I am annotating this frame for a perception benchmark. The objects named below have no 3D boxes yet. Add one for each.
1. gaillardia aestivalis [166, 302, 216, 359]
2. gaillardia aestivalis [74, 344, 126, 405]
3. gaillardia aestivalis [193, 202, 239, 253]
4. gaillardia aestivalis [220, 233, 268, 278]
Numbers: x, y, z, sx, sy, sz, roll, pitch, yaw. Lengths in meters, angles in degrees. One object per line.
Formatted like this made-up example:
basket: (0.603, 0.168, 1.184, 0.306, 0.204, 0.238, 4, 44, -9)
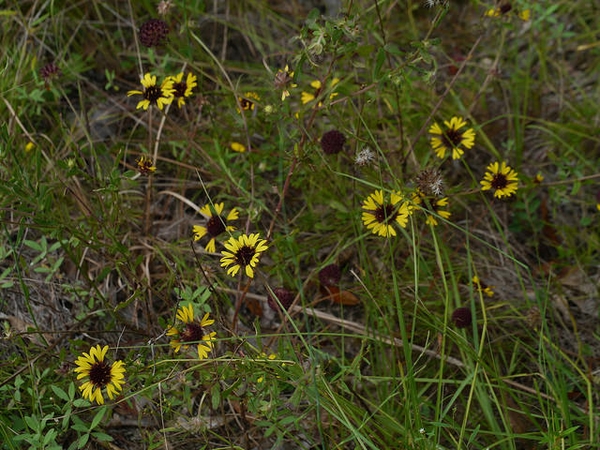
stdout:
gaillardia aestivalis: (-0.555, 0.530, 2.677, 0.252, 0.118, 0.312, -8, 93, -9)
gaillardia aestivalis: (-0.981, 0.729, 2.589, 0.233, 0.155, 0.272, -22, 75, -20)
gaillardia aestivalis: (-0.505, -0.002, 3.101, 0.278, 0.138, 0.319, -19, 89, 11)
gaillardia aestivalis: (-0.289, 0.149, 2.671, 0.234, 0.262, 0.117, -7, 109, -17)
